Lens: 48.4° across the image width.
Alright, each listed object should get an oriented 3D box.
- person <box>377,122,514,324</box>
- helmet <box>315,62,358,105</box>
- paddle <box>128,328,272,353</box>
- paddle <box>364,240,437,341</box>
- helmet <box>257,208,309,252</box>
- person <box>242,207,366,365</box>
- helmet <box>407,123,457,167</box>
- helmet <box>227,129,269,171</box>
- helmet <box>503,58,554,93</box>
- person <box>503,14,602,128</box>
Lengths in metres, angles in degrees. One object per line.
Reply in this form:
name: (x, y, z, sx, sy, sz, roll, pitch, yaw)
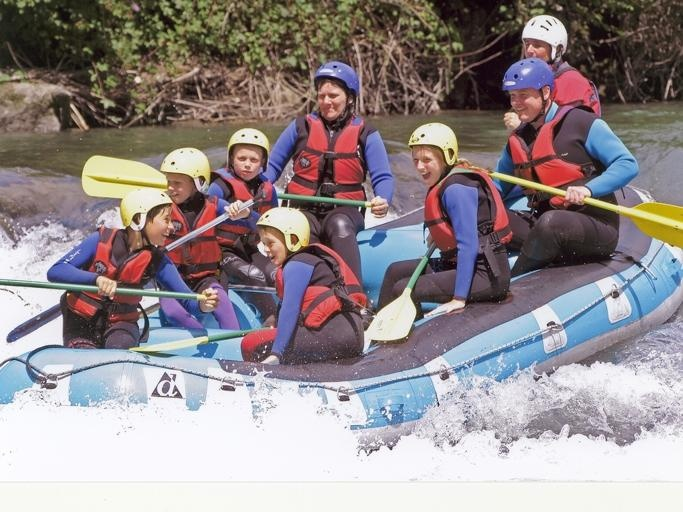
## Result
person: (0.612, -0.033, 4.562, 0.860, 1.421, 0.839, 0, 4, -3)
helmet: (-0.040, -1.147, 5.041, 0.199, 0.280, 0.221, 5, 15, 14)
paddle: (-0.796, 0.477, 4.286, 0.619, 0.032, 0.084, -6, 23, -26)
paddle: (0.399, 0.182, 4.575, 0.271, 0.045, 1.096, -5, 25, 24)
helmet: (-0.339, -0.155, 4.208, 0.254, 0.204, 0.229, -25, 13, 0)
person: (-0.155, 0.158, 4.145, 0.582, 0.821, 0.426, -3, 17, -6)
helmet: (0.554, -0.653, 4.456, 0.244, 0.247, 0.318, 5, 12, 43)
helmet: (-0.622, -0.756, 5.052, 0.235, 0.313, 0.242, 4, 40, -4)
helmet: (1.183, -1.131, 4.780, 0.349, 0.217, 0.249, -6, 11, -28)
person: (1.557, -1.301, 5.511, 0.569, 0.907, 0.588, -25, 27, -26)
